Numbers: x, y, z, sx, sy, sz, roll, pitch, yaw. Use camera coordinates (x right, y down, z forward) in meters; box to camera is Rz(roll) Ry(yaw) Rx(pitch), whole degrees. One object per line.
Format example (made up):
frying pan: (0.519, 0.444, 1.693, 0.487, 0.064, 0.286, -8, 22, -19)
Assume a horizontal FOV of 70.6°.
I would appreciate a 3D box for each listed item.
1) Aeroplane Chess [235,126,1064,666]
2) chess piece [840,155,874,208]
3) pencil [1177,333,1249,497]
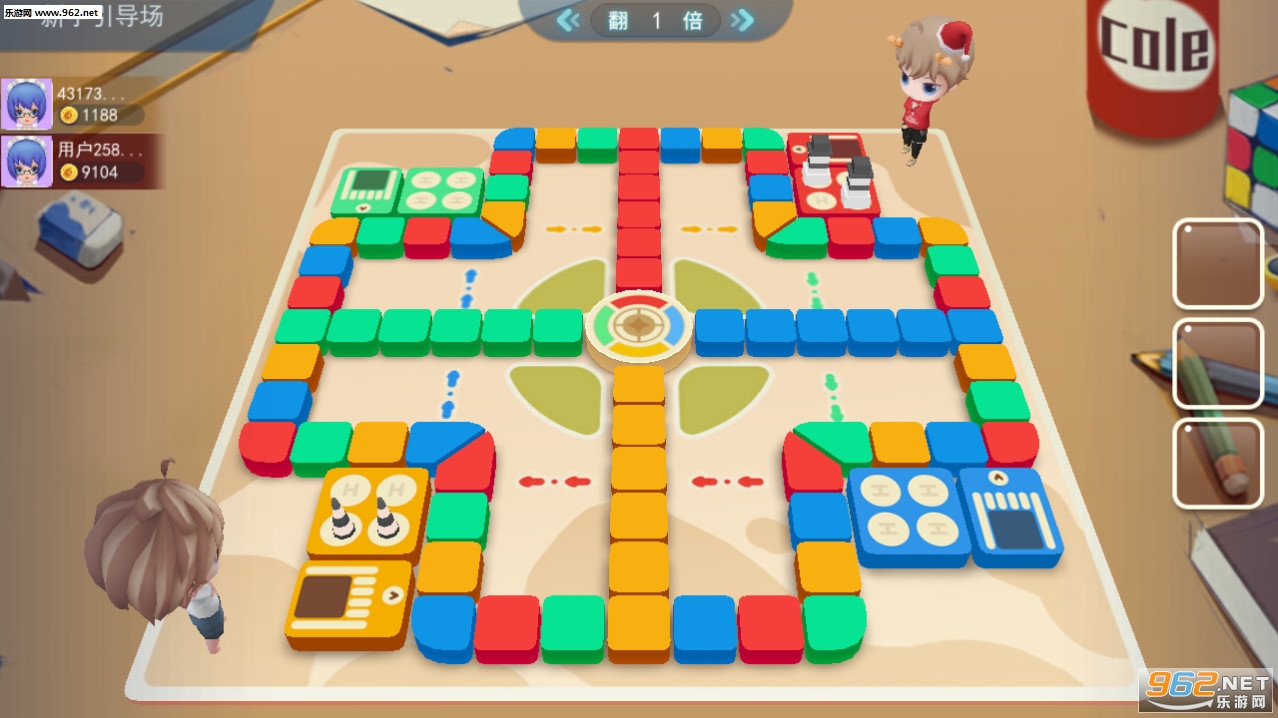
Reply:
Aeroplane Chess: (0.031, 0.443, 6.193, 5.371, 1.012, 5.569, 0, 36, 0)
chess piece: (1.792, -1.432, 7.378, 0.287, 0.442, 0.262, -1, 47, 3)
pencil: (4.077, 0.415, 6.417, 0.259, 0.247, 1.204, 0, 48, 3)
